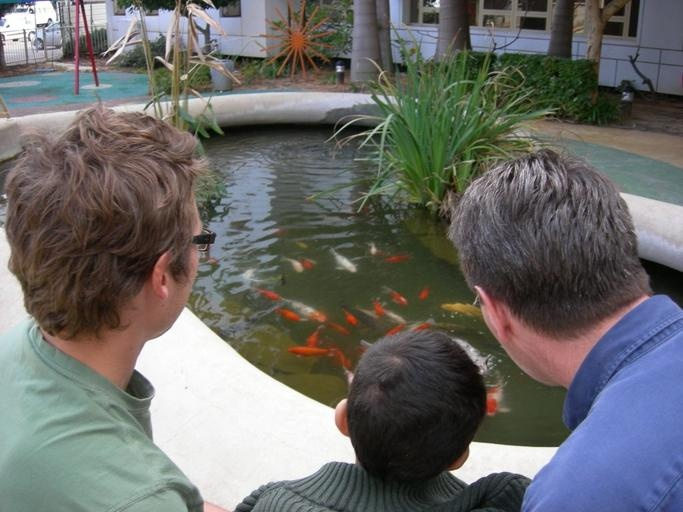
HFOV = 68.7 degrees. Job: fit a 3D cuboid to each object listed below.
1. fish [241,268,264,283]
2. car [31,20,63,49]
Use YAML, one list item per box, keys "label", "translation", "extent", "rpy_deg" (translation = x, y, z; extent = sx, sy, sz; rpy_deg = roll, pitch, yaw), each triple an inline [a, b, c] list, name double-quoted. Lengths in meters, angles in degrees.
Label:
- label: "fish"
  translation: [-0.779, 0.168, 4.293]
  extent: [0.121, 0.028, 0.118]
  rpy_deg: [8, 31, 25]
- label: "car"
  translation: [-11.109, -8.357, 18.793]
  extent: [1.011, 1.031, 2.665]
  rpy_deg: [-11, 24, -25]
